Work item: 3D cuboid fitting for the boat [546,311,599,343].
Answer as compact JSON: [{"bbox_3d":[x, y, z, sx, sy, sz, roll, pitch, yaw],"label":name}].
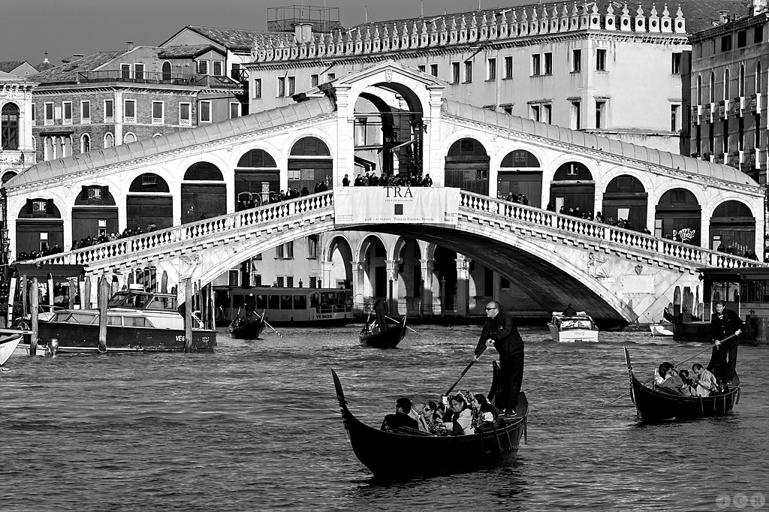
[{"bbox_3d":[9.204,3.492,103.083,2.708,1.431,1.676,-2,-2,37],"label":"boat"}]
